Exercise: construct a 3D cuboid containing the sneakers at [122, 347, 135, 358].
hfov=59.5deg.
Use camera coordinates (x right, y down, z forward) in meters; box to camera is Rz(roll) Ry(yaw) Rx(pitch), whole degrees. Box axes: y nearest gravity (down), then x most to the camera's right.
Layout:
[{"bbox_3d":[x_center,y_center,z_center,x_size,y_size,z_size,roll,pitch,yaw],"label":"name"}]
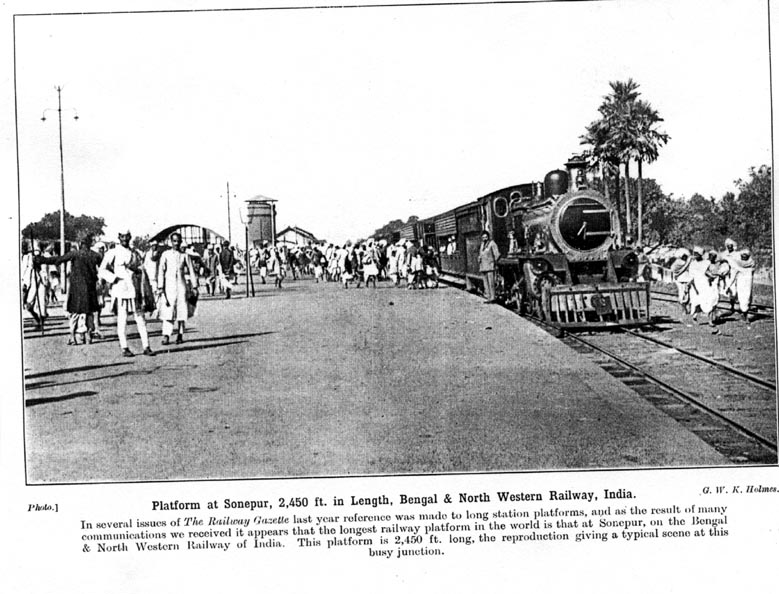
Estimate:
[{"bbox_3d":[-5.065,1.064,13.220,0.188,0.313,0.297,-10,-10,-21],"label":"sneakers"}]
